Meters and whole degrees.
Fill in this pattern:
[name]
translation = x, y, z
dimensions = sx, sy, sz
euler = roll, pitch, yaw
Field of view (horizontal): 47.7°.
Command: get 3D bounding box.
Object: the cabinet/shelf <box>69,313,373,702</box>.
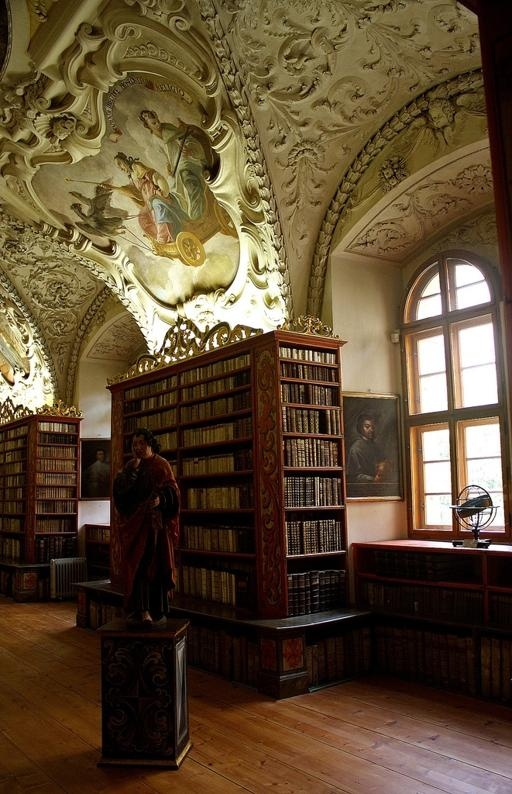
[cabinet/shelf]
translation = -0.498, 0.979, 6.100
dimensions = 1.163, 3.277, 3.094
euler = 7, -12, -42

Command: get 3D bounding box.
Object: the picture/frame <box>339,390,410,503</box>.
[picture/frame]
translation = 1.114, 0.507, 5.600
dimensions = 0.973, 1.157, 0.083
euler = 6, -8, -37
